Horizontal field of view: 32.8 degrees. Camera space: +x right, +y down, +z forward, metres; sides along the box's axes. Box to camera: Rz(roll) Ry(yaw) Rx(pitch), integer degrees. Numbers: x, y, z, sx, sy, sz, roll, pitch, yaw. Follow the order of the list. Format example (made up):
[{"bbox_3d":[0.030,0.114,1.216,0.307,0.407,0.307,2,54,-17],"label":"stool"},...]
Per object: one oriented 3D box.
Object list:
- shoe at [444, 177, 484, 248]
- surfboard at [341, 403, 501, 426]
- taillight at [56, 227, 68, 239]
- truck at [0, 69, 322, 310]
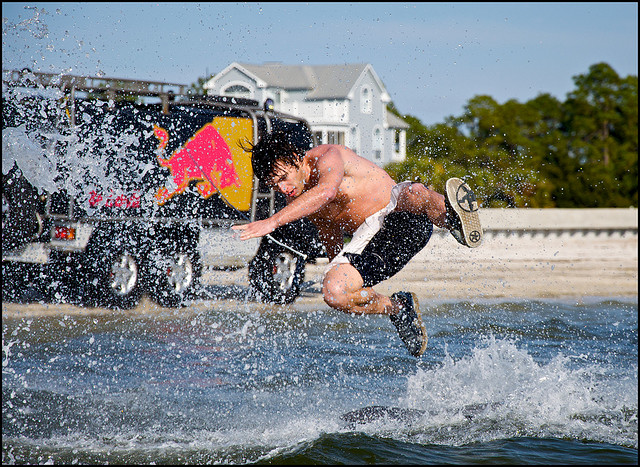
[{"bbox_3d":[1.696,-0.233,12.955,0.458,0.848,0.266,2,11,8],"label":"shoe"},{"bbox_3d":[1.131,2.120,12.783,1.765,0.137,0.343,-1,13,-6],"label":"surfboard"},{"bbox_3d":[-3.805,-0.010,15.992,0.138,0.172,0.047,5,2,15],"label":"taillight"},{"bbox_3d":[-2.513,-0.677,17.301,4.980,3.457,2.945,-2,3,-34],"label":"truck"}]
